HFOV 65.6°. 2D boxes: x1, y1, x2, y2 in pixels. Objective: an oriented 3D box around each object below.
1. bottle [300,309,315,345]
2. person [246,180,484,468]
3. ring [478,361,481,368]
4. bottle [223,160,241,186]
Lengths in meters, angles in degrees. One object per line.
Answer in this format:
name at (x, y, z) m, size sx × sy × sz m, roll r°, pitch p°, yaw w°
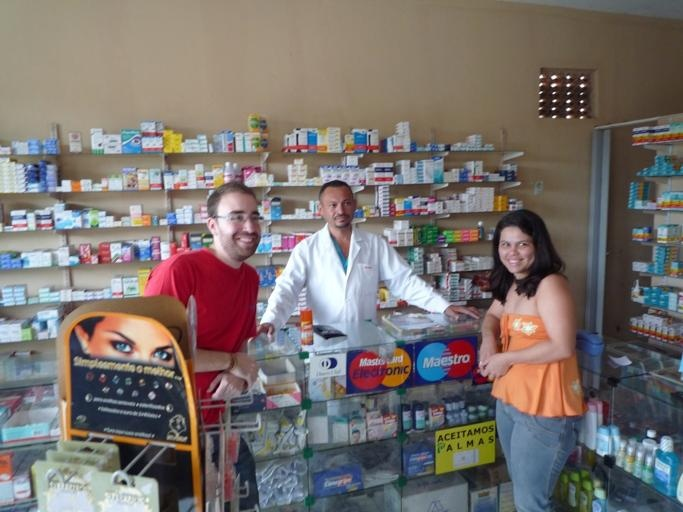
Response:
bottle at (-0.194, 0.376, 2.868) m, size 0.065 × 0.184 × 0.126 m, roll -5°, pitch 8°, yaw -5°
person at (0.079, 0.079, 3.753) m, size 1.545 × 1.124 × 0.789 m, roll -1°, pitch 6°, yaw -14°
ring at (0.728, 0.562, 2.760) m, size 0.008 × 0.028 × 0.030 m, roll 13°, pitch -24°, yaw 10°
bottle at (-0.988, -0.755, 4.759) m, size 0.121 × 0.167 × 0.216 m, roll -2°, pitch 9°, yaw 13°
